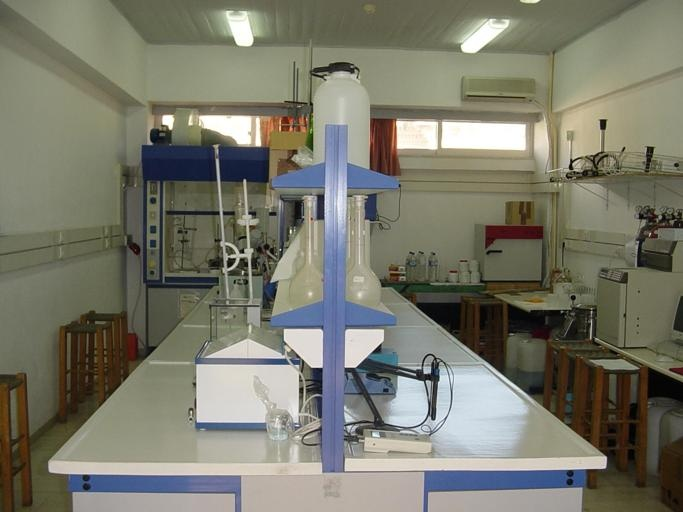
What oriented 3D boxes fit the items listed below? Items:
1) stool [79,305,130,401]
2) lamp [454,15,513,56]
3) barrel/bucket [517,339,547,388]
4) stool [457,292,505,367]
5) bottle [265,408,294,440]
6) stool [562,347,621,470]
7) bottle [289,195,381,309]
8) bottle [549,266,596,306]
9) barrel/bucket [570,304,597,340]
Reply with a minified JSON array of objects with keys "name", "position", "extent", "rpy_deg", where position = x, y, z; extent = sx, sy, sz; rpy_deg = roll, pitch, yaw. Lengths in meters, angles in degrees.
[{"name":"stool","position":[-2.094,0.861,5.364],"extent":[0.460,0.657,0.477],"rpy_deg":[5,0,40]},{"name":"lamp","position":[1.344,-2.035,5.615],"extent":[0.263,0.263,1.045],"rpy_deg":[-10,8,-6]},{"name":"barrel/bucket","position":[1.796,0.987,5.785],"extent":[0.273,0.480,0.278],"rpy_deg":[-3,19,1]},{"name":"stool","position":[1.510,0.862,6.302],"extent":[0.453,0.788,0.445],"rpy_deg":[0,2,14]},{"name":"bottle","position":[-0.283,0.762,2.814],"extent":[0.132,0.141,0.100],"rpy_deg":[-4,5,-26]},{"name":"stool","position":[1.918,1.124,4.441],"extent":[0.481,0.690,0.480],"rpy_deg":[15,-13,-37]},{"name":"bottle","position":[-0.029,-0.022,2.670],"extent":[0.401,0.494,0.221],"rpy_deg":[3,10,7]},{"name":"bottle","position":[2.246,0.278,5.880],"extent":[0.327,0.228,0.346],"rpy_deg":[-1,4,0]},{"name":"barrel/bucket","position":[2.070,0.549,5.172],"extent":[0.273,0.322,0.299],"rpy_deg":[1,1,0]}]
